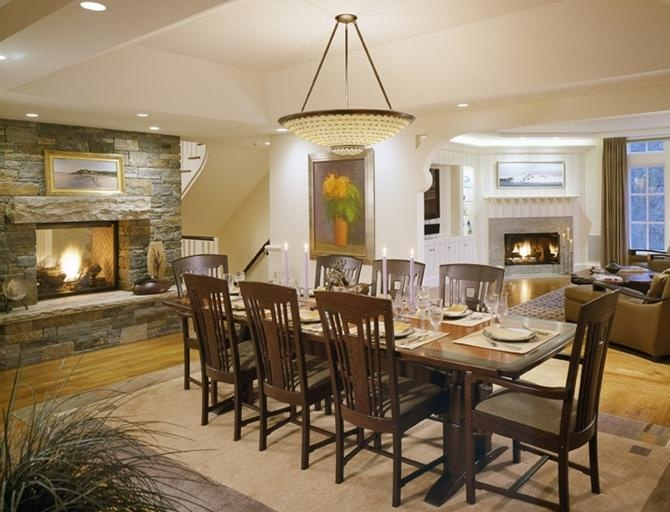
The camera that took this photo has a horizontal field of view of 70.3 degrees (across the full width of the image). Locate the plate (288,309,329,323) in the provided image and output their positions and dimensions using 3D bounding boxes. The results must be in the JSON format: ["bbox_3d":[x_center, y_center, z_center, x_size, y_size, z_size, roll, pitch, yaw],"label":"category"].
[{"bbox_3d":[-0.178,0.398,3.150,0.140,0.045,0.147,4,4,42],"label":"plate"}]

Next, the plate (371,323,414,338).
[{"bbox_3d":[0.393,0.462,2.936,0.146,0.025,0.150,9,10,38],"label":"plate"}]

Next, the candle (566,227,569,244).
[{"bbox_3d":[5.086,-0.478,10.436,0.093,0.287,0.053,0,6,11],"label":"candle"}]

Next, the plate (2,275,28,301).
[{"bbox_3d":[-3.507,0.352,5.234,0.220,0.269,0.118,-5,7,-39],"label":"plate"}]

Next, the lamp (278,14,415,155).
[{"bbox_3d":[0.093,-1.294,3.597,1.020,1.005,1.027,-1,9,1],"label":"lamp"}]

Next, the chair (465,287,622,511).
[{"bbox_3d":[1.140,0.809,2.678,0.781,1.250,0.565,1,6,17],"label":"chair"}]

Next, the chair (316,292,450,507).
[{"bbox_3d":[0.262,0.802,2.954,0.735,1.239,0.587,2,6,30],"label":"chair"}]
